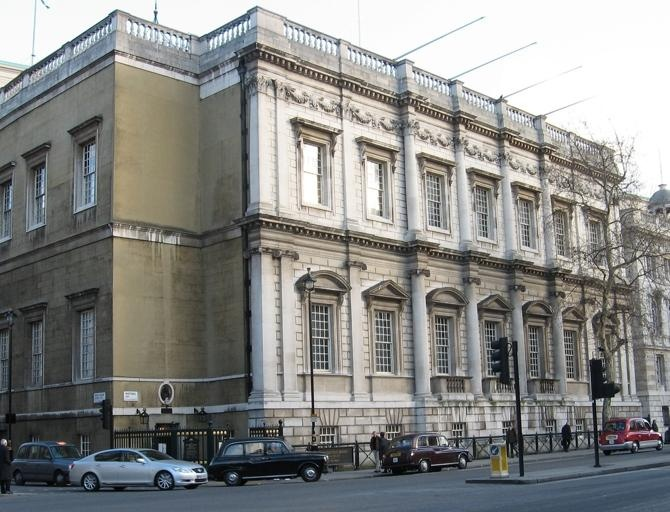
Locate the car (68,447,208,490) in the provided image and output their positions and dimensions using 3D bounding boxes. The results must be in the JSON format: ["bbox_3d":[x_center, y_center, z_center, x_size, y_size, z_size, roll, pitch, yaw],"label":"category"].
[{"bbox_3d":[-8.253,8.994,39.577,5.161,1.645,2.215,-5,-14,13],"label":"car"}]

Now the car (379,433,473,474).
[{"bbox_3d":[4.149,9.248,44.341,4.314,1.803,1.773,6,-11,-39],"label":"car"}]

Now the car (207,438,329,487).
[{"bbox_3d":[-3.083,8.718,40.249,4.625,1.996,0.701,0,-18,-10],"label":"car"}]

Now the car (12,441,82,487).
[{"bbox_3d":[-13.494,9.571,43.891,2.956,1.499,1.829,-7,-13,26],"label":"car"}]
